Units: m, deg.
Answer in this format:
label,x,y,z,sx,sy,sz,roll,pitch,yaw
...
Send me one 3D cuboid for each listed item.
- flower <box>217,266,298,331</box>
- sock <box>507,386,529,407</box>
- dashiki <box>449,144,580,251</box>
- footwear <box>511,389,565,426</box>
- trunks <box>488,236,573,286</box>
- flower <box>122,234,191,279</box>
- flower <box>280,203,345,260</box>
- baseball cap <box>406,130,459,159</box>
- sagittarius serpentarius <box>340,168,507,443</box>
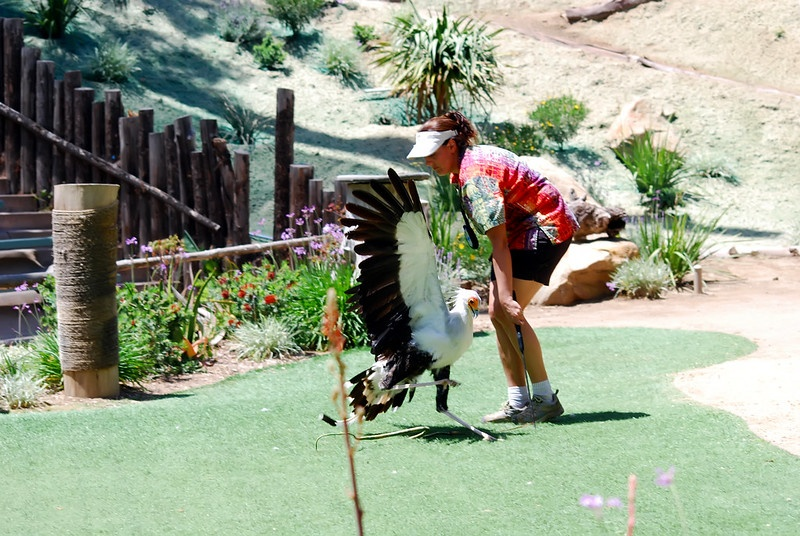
label,x,y,z,sx,sy,sz,roll,pitch,yaw
flower,-1.719,0.297,13.087,0.919,0.426,0.775,-2,21,-2
sock,1.187,1.247,10.501,0.206,0.191,0.222,2,-12,-11
dashiki,1.116,-0.657,10.511,1.269,0.728,1.042,-5,1,4
footwear,1.463,1.345,10.571,0.601,0.230,0.199,-16,13,-11
trunks,1.275,-0.067,10.362,0.684,0.410,0.487,-1,8,14
flower,-2.957,-0.162,13.209,0.899,0.378,0.668,-4,-2,44
flower,-1.050,-0.460,13.643,0.689,0.568,0.933,3,3,-27
baseball cap,0.309,-1.180,10.212,0.467,0.146,0.285,-28,9,-37
sagittarius serpentarius,0.217,0.478,10.414,1.433,2.238,2.564,-3,-24,14
